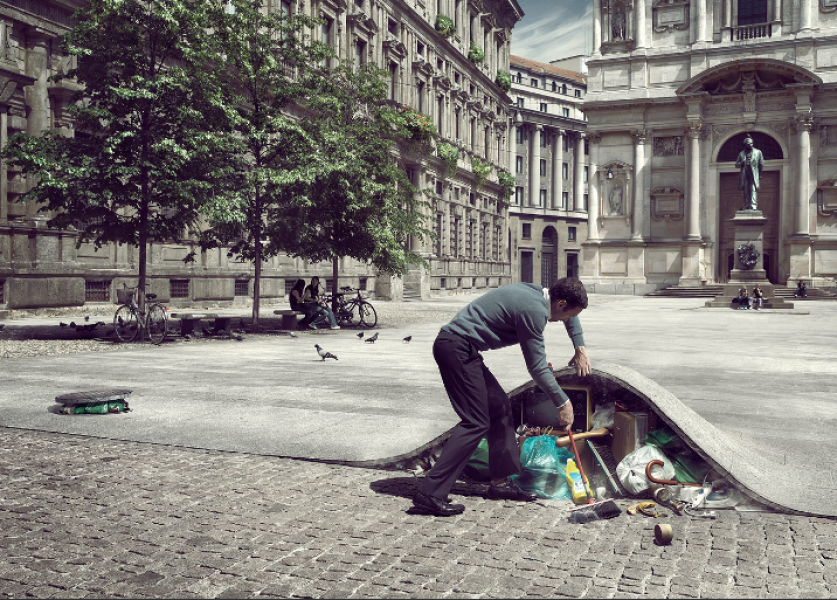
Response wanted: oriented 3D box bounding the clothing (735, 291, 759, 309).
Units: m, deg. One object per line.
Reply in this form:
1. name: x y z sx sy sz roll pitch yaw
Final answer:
1. clothing: 14.630 -0.002 38.575 1.030 0.795 1.576 5 15 19

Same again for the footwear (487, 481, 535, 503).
1. footwear: 1.055 2.226 10.184 0.631 0.266 0.222 1 6 3

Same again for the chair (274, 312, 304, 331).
1. chair: -3.553 0.591 24.346 0.548 0.444 0.885 6 5 26

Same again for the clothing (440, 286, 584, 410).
1. clothing: 1.179 0.461 10.189 1.610 1.328 1.103 4 15 9

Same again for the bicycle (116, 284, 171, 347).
1. bicycle: -6.406 0.417 20.593 0.745 1.230 1.941 -4 -3 20

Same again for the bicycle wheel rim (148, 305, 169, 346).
1. bicycle wheel rim: -6.145 0.574 20.703 0.468 0.936 1.280 -4 14 -17

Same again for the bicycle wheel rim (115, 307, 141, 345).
1. bicycle wheel rim: -6.914 0.627 20.927 0.604 0.825 0.316 1 7 32

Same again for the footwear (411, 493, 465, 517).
1. footwear: 0.248 2.271 9.895 0.625 0.287 0.238 0 4 1

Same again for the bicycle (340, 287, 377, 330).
1. bicycle: -1.899 0.152 26.597 1.303 0.846 0.626 -2 18 27
